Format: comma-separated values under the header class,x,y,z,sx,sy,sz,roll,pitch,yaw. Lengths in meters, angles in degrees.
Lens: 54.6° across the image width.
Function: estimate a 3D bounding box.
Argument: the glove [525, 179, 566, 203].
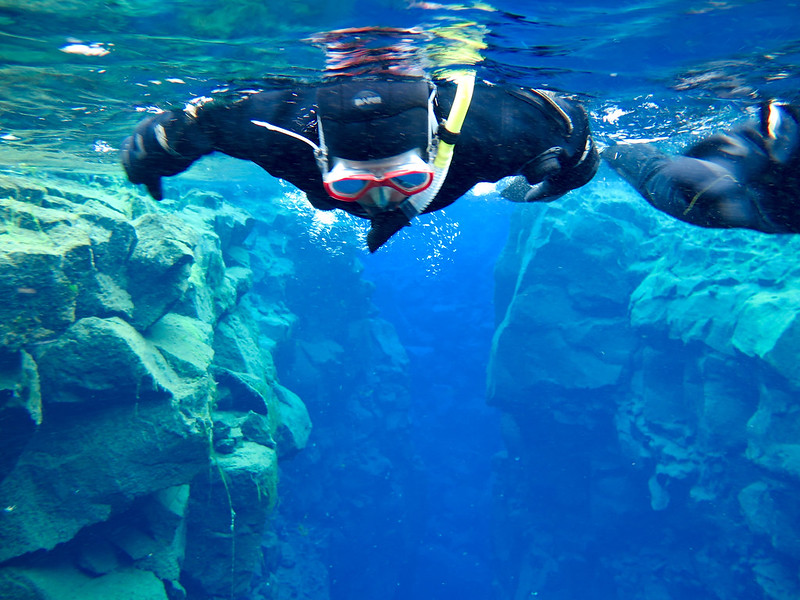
class,x,y,z,sx,sy,sz,roll,pitch,yaw
glove,2.061,-1.551,11.145,0.355,0.140,0.434,-14,8,-24
